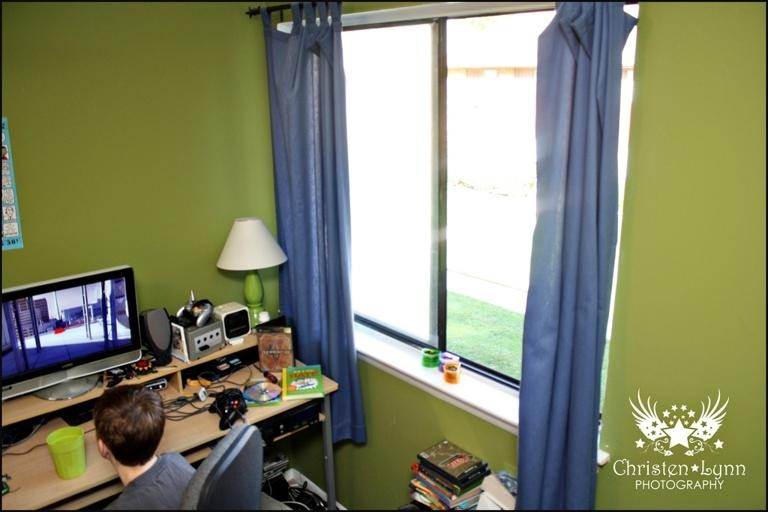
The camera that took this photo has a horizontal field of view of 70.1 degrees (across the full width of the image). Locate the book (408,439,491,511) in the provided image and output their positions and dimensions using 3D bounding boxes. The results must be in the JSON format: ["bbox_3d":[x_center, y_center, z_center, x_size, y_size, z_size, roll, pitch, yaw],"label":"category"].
[{"bbox_3d":[0.347,1.068,2.775,0.312,0.207,0.312,7,11,43],"label":"book"}]

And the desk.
[{"bbox_3d":[-1.124,0.782,2.747,0.556,0.706,1.068,8,11,43],"label":"desk"}]

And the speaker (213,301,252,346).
[{"bbox_3d":[-0.886,0.383,3.319,0.226,0.227,0.220,8,14,43],"label":"speaker"}]
